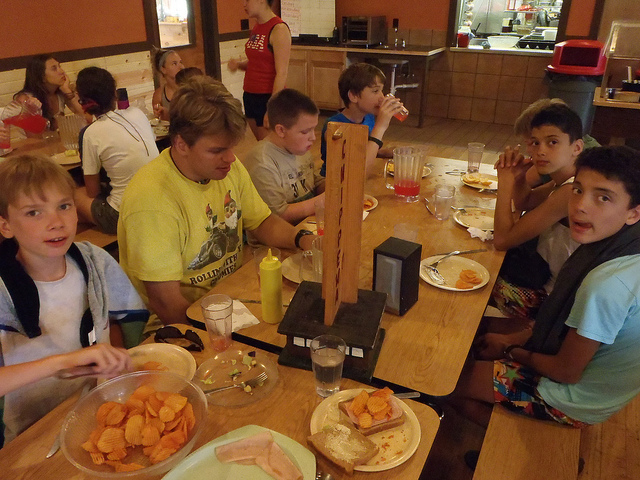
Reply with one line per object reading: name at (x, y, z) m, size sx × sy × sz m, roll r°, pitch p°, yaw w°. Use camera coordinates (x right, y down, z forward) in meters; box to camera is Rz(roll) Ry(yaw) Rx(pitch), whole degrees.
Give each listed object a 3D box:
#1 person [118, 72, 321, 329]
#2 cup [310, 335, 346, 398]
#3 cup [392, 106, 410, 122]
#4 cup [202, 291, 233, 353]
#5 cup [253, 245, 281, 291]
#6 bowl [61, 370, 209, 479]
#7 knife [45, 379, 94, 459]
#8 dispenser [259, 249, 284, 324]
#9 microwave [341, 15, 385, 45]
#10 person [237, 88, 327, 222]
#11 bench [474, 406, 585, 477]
person at (-0.544, -0.182, 2.345) m, size 0.725 × 1.113 × 0.858 m, roll 27°, pitch 37°, yaw 24°
cup at (0.021, 0.447, 1.637) m, size 0.100 × 0.153 × 0.104 m, roll 2°, pitch -3°, yaw 0°
cup at (0.513, -0.791, 3.077) m, size 0.062 × 0.088 × 0.292 m, roll 8°, pitch 25°, yaw 12°
cup at (-0.396, 0.286, 1.843) m, size 0.135 × 0.226 × 0.135 m, roll -4°, pitch -14°, yaw -1°
cup at (-0.215, 0.118, 1.937) m, size 0.123 × 0.200 × 0.126 m, roll 0°, pitch 22°, yaw 0°
bowl at (-0.547, 0.564, 1.454) m, size 0.403 × 0.173 × 0.327 m, roll 8°, pitch 25°, yaw 13°
knife at (-0.791, 0.559, 1.538) m, size 0.030 × 0.011 × 0.223 m, roll 31°, pitch 53°, yaw -9°
dispenser at (-0.184, 0.186, 1.916) m, size 0.095 × 0.283 × 0.108 m, roll -2°, pitch 23°, yaw -6°
microwave at (0.657, -3.143, 7.247) m, size 0.684 × 0.373 × 0.684 m, roll -12°, pitch 29°, yaw -19°
person at (-0.164, -0.483, 3.090) m, size 0.559 × 0.880 × 0.619 m, roll 12°, pitch 32°, yaw 17°
bench at (0.788, 0.780, 1.821) m, size 0.325 × 0.087 × 0.394 m, roll 15°, pitch 27°, yaw 25°
